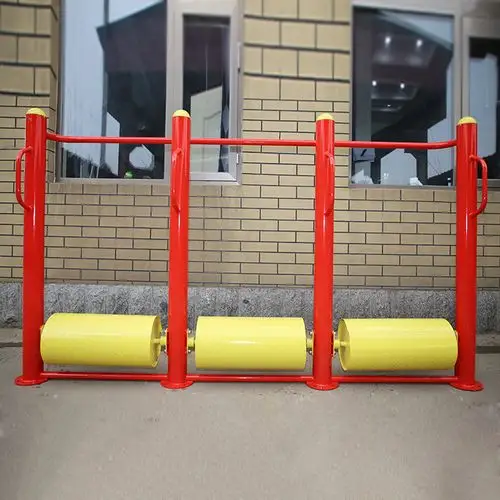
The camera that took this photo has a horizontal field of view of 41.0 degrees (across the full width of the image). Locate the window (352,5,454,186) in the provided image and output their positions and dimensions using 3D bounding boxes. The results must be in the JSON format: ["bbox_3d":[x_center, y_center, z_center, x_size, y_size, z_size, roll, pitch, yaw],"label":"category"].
[{"bbox_3d":[1.293,-1.521,5.798,0.880,0.025,1.761,3,-22,10],"label":"window"}]

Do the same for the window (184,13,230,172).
[{"bbox_3d":[-0.343,-1.457,5.691,0.401,0.065,1.411,2,-36,0],"label":"window"}]
